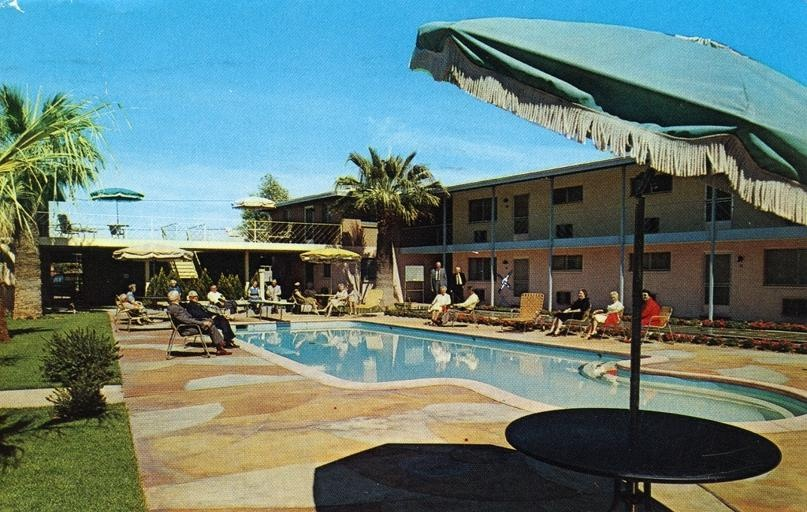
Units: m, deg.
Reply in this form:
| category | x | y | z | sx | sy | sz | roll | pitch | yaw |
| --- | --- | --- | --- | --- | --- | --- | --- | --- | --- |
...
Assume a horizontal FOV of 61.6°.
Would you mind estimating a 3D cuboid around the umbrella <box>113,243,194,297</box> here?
| category | x | y | z | sx | sy | sz | roll | pitch | yaw |
| --- | --- | --- | --- | --- | --- | --- | --- | --- | --- |
| umbrella | -9.754 | 0.384 | 25.687 | 2.622 | 1.700 | 2.714 | 1 | 0 | -4 |

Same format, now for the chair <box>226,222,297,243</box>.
| category | x | y | z | sx | sy | sz | roll | pitch | yaw |
| --- | --- | --- | --- | --- | --- | --- | --- | --- | --- |
| chair | -6.767 | -1.215 | 33.407 | 1.783 | 1.129 | 3.359 | 1 | 0 | 27 |
